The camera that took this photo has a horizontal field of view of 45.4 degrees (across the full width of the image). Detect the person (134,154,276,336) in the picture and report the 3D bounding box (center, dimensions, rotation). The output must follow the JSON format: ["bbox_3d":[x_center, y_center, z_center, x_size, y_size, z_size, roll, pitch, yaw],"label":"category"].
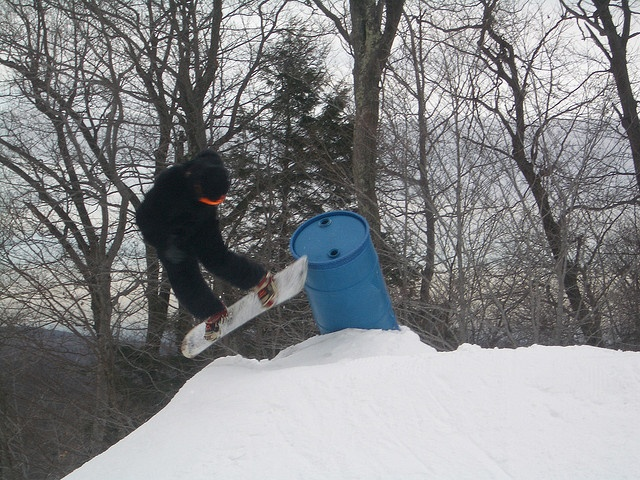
[{"bbox_3d":[-2.036,-0.027,12.755,1.610,2.864,1.034,-13,-1,10],"label":"person"}]
